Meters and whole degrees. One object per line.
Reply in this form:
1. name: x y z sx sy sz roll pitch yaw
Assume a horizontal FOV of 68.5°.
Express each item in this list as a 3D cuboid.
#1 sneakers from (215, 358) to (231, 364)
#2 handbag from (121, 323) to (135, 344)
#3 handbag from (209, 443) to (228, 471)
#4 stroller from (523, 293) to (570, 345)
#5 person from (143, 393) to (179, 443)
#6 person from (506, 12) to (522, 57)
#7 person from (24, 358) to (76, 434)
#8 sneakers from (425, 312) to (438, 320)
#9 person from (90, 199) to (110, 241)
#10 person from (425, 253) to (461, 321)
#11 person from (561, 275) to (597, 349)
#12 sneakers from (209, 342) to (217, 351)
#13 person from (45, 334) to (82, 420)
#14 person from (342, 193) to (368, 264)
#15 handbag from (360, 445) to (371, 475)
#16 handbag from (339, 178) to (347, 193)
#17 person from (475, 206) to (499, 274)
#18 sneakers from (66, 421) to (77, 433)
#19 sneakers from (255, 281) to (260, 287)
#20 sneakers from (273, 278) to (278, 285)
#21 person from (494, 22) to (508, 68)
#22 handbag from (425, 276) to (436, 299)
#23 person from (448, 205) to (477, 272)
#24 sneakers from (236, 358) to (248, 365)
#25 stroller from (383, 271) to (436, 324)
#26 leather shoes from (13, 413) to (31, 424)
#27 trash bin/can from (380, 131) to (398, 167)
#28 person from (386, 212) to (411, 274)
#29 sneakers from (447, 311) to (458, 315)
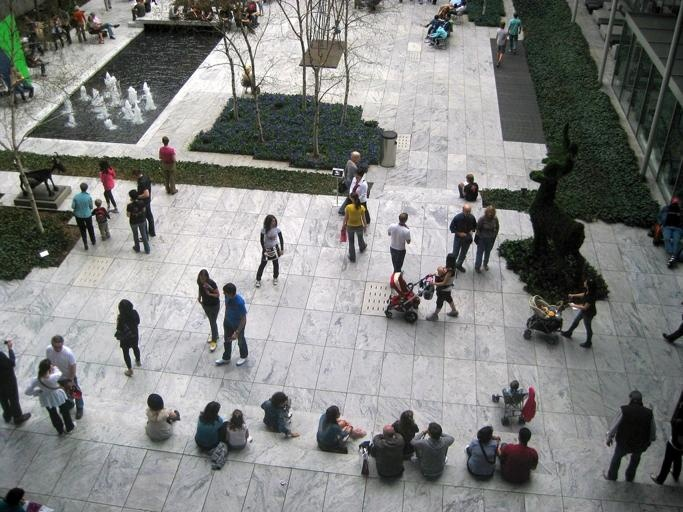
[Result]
1. sneakers: -2.478 2.228 10.448 0.305 0.136 0.123 -3 74 4
2. handbag: -4.087 1.504 9.706 0.275 0.305 0.323 -2 55 -8
3. handbag: -2.055 3.374 8.378 0.233 0.143 0.381 1 50 -3
4. stroller: 4.388 1.263 11.012 0.926 1.001 0.793 6 44 13
5. person: -3.188 2.903 8.812 0.380 0.718 0.563 16 54 -1
6. person: 8.074 -10.585 23.488 0.528 1.437 2.156 6 37 17
7. person: -4.984 2.479 8.642 0.680 1.410 0.409 -16 20 -27
8. sneakers: 2.008 1.371 11.314 0.288 0.203 0.126 7 57 8
9. person: -6.396 -0.958 13.171 0.510 1.232 0.425 -12 37 -23
10. person: 2.323 0.782 11.423 0.688 1.353 0.492 11 54 13
11. person: 5.176 1.314 10.946 0.588 1.388 0.520 6 55 22
12. sneakers: -2.757 1.962 10.715 0.075 0.102 0.243 -1 43 -1
13. person: -4.944 2.238 8.805 0.540 1.642 0.486 8 12 -12
14. person: 0.292 -0.913 12.473 0.565 2.040 1.150 -2 34 5
15. handbag: 0.377 3.407 8.300 0.125 0.100 0.464 -18 49 27
16. handbag: 0.021 -2.049 14.447 0.174 0.222 0.520 -1 21 0
17. person: 3.467 -0.453 12.106 0.528 1.785 0.399 -2 33 4
18. sneakers: -4.826 3.073 8.954 0.082 0.078 0.182 12 34 6
19. sneakers: -2.022 0.684 12.084 0.098 0.187 0.147 0 83 -11
20. sneakers: -1.608 0.622 12.155 0.123 0.234 0.134 -3 65 -10
21. person: 7.093 -9.533 22.222 0.461 1.636 2.106 5 36 15
22. handbag: 1.940 0.685 11.055 0.229 0.675 0.254 -16 63 -2
23. person: 2.940 -0.481 12.139 0.597 1.854 0.714 5 35 14
24. sneakers: -2.087 2.209 10.466 0.229 0.093 0.101 -29 37 -31
25. stroller: 1.456 0.680 11.393 1.379 1.417 0.764 3 50 5
26. leather shoes: -5.845 2.999 9.195 0.277 0.122 0.117 -24 53 -32
27. trash bin/can: 1.499 -3.428 16.115 0.817 0.976 0.566 17 43 21
28. person: 1.358 -0.335 11.865 0.476 1.847 1.137 -1 34 6
29. sneakers: 2.509 1.315 11.388 0.238 0.105 0.094 3 79 27
